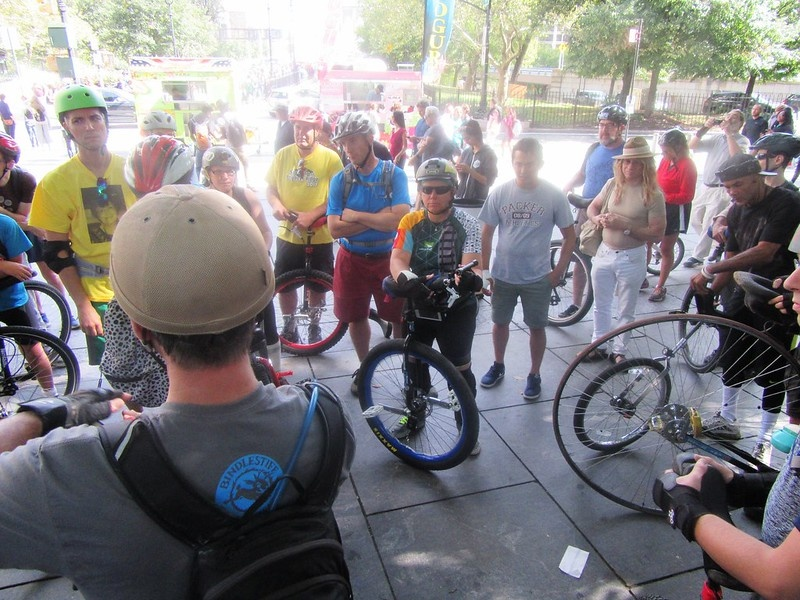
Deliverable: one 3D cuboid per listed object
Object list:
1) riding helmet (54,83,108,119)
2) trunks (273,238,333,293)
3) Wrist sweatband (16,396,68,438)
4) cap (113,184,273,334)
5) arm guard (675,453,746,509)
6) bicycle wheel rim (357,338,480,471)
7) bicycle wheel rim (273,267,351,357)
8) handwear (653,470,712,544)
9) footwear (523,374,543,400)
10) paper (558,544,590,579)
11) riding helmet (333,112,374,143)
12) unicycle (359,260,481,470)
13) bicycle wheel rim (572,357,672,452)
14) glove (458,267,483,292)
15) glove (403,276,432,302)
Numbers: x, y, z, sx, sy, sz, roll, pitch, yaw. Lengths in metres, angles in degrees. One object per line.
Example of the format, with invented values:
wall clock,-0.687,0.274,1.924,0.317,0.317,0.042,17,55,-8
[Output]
riding helmet,-2.268,-1.388,4.102,0.224,0.341,0.289,-1,8,-17
trunks,-0.977,-0.407,5.812,0.745,0.708,0.441,1,5,-8
Wrist sweatband,-1.252,0.396,2.010,0.139,0.146,0.110,10,48,-52
cap,-0.695,-0.107,1.872,0.385,0.309,0.530,-15,48,-25
arm guard,1.439,0.818,2.786,0.228,0.140,0.321,15,-2,-8
bicycle wheel rim,0.128,0.817,4.316,0.650,0.733,0.437,14,25,33
bicycle wheel rim,-0.883,0.127,5.645,0.740,0.846,0.235,-3,3,2
handwear,1.200,0.887,2.528,0.165,0.130,0.285,-5,17,-18
footwear,1.160,0.774,5.099,0.094,0.122,0.273,7,15,13
paper,1.054,1.591,3.498,0.099,0.012,0.161,8,31,32
riding helmet,-0.370,-1.431,4.763,0.214,0.183,0.319,7,21,31
unicycle,0.092,0.609,4.390,0.921,0.708,1.442,14,53,-16
bicycle wheel rim,1.454,0.631,3.997,0.697,0.776,0.170,-27,45,1
glove,0.469,-0.126,3.919,0.116,0.097,0.167,10,9,16
glove,0.116,-0.061,3.884,0.150,0.134,0.164,3,-2,-28
